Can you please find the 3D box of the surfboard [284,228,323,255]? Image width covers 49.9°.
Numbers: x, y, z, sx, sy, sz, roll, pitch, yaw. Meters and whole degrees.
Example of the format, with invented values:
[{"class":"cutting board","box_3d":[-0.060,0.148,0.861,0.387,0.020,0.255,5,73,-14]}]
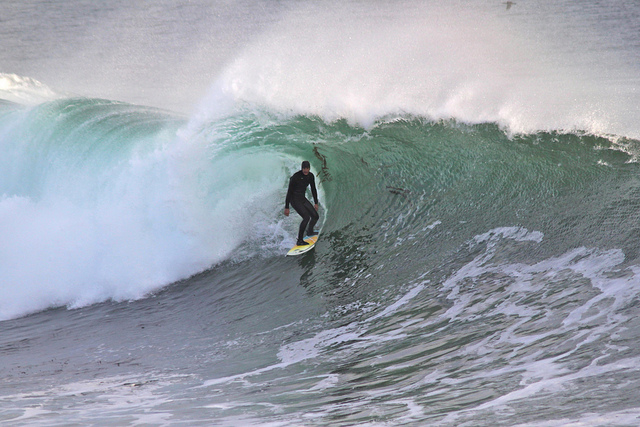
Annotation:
[{"class":"surfboard","box_3d":[-0.322,0.686,15.808,1.072,0.138,0.322,-35,50,-22]}]
